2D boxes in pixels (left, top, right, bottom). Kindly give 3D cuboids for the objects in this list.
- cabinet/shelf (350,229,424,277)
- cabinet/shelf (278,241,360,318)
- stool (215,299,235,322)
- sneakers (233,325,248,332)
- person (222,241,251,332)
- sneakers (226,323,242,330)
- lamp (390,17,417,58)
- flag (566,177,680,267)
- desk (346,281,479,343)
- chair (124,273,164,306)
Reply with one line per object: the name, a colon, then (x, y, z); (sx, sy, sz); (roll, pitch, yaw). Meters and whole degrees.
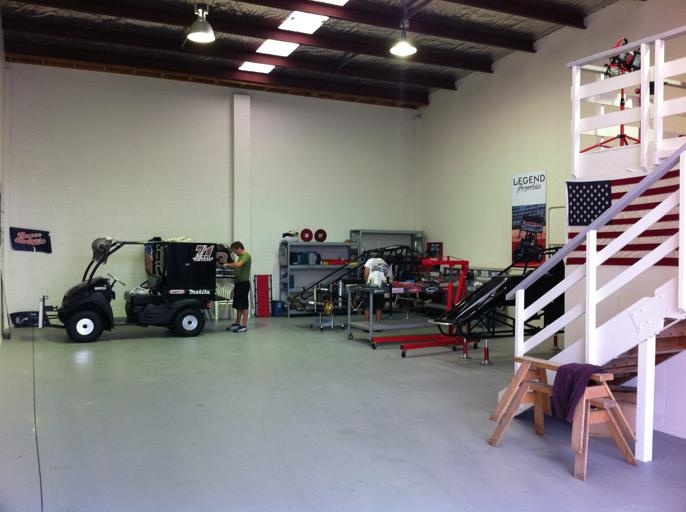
cabinet/shelf: (0.965, -0.063, 13.379); (1.165, 1.121, 0.386); (0, -3, -19)
cabinet/shelf: (-0.638, 0.596, 13.117); (1.747, 1.685, 0.575); (0, -3, -21)
stool: (-2.698, 1.228, 12.674); (0.428, 0.580, 0.580); (-1, -1, 16)
sneakers: (-2.026, 1.434, 11.107); (0.260, 0.115, 0.097); (5, -6, -28)
person: (-2.097, 0.603, 11.286); (0.462, 1.831, 1.369); (0, 6, -9)
sneakers: (-2.135, 1.385, 11.151); (0.334, 0.143, 0.121); (3, -5, 3)
lamp: (1.058, -3.929, 10.035); (0.479, 0.523, 0.475); (25, 43, 31)
flag: (3.000, -0.366, 5.983); (0.032, 0.739, 0.995); (4, -6, -41)
desk: (0.913, 1.267, 11.178); (1.405, 1.226, 2.534); (10, -3, 8)
chair: (-3.774, 0.663, 10.638); (0.580, 0.552, 1.127); (3, 1, -20)
